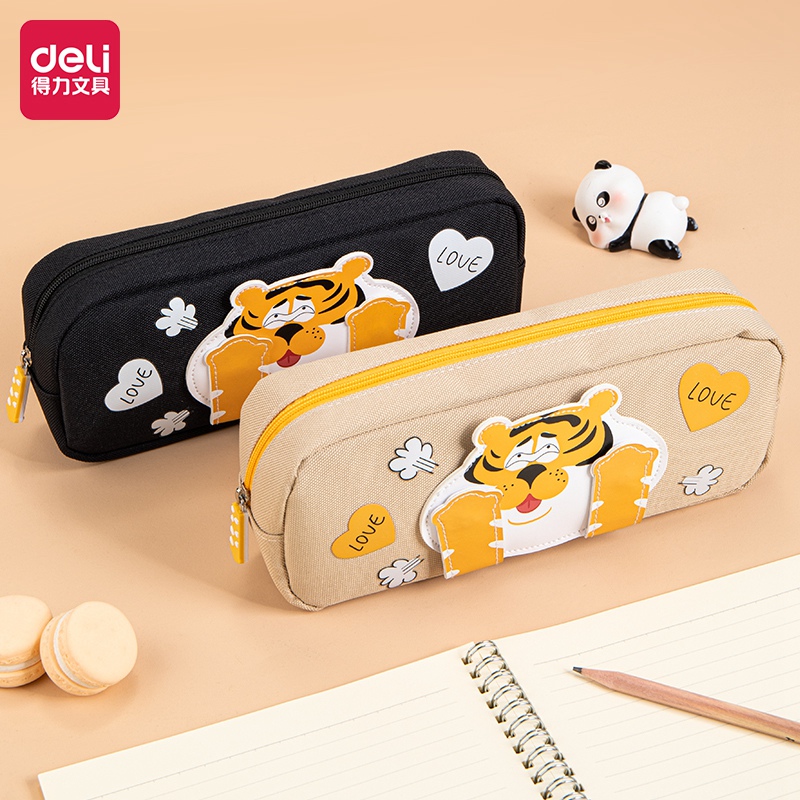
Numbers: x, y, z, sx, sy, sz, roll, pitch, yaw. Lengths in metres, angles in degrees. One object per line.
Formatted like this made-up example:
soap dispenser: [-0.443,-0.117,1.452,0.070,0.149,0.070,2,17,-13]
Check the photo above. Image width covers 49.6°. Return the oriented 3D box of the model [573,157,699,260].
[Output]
model: [0.367,-0.313,1.428,0.244,0.119,0.139,9,43,-8]
